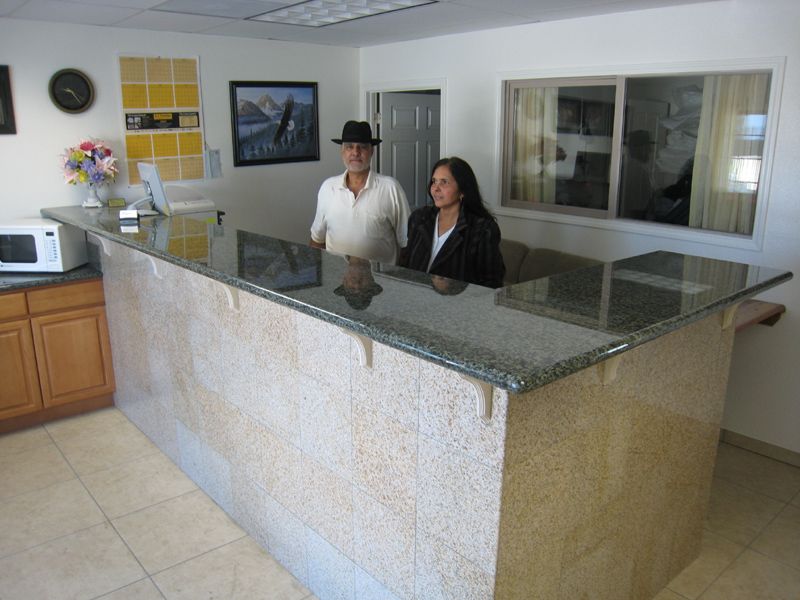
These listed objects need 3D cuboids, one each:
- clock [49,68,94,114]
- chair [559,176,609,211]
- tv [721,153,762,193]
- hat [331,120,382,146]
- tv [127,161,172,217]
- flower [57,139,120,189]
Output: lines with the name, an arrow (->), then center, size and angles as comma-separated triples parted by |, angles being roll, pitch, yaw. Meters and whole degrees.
clock -> -2.531, -1.609, 4.559 | 0.301, 0.309, 0.062 | -17, 21, -41
chair -> 1.452, -0.838, 4.648 | 0.426, 0.228, 0.258 | 14, 15, 31
tv -> 2.220, -0.832, 3.831 | 0.043, 0.306, 0.238 | -17, 22, -37
hat -> -0.299, -1.118, 4.091 | 0.277, 0.121, 0.314 | 1, 9, -3
tv -> -1.937, -0.842, 4.505 | 0.249, 0.357, 0.493 | -15, 32, -36
flower -> -2.444, -1.013, 4.678 | 0.378, 0.392, 0.385 | 3, 0, 0
